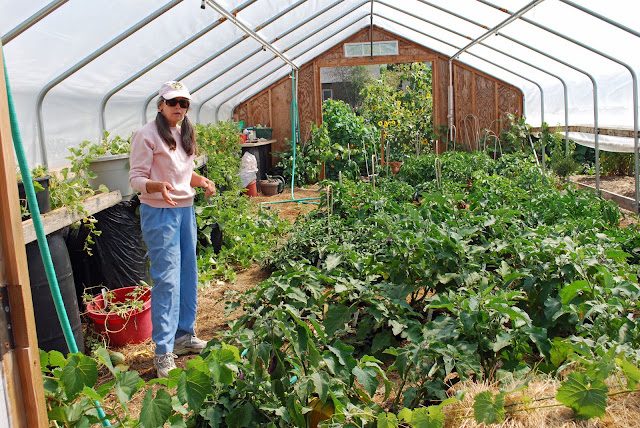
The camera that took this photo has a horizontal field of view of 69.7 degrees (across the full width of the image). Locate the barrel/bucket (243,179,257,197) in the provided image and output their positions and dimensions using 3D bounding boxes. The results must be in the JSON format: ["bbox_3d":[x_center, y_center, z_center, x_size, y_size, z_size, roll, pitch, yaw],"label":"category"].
[{"bbox_3d":[-1.343,-0.537,9.190,0.290,0.243,0.296,-1,14,0],"label":"barrel/bucket"}]

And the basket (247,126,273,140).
[{"bbox_3d":[-1.280,-1.859,10.456,0.419,0.200,0.318,2,6,33],"label":"basket"}]

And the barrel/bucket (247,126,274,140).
[{"bbox_3d":[-1.364,-1.855,10.522,0.419,0.200,0.318,2,6,33],"label":"barrel/bucket"}]

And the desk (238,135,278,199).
[{"bbox_3d":[-1.287,-0.962,9.479,0.469,0.914,1.358,1,5,8],"label":"desk"}]

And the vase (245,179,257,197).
[{"bbox_3d":[-1.341,-0.517,9.202,0.283,0.242,0.295,-2,6,-12],"label":"vase"}]

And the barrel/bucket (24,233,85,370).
[{"bbox_3d":[-1.847,0.589,3.299,0.167,0.895,0.377,-1,6,21],"label":"barrel/bucket"}]

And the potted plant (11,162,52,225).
[{"bbox_3d":[-2.012,-0.158,3.309,0.199,0.364,0.473,-7,8,-31],"label":"potted plant"}]

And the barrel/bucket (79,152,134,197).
[{"bbox_3d":[-1.937,-0.360,4.350,0.498,0.548,0.416,-2,-1,-32],"label":"barrel/bucket"}]

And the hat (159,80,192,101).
[{"bbox_3d":[-1.092,-0.923,3.453,0.166,0.121,0.231,-1,10,-31],"label":"hat"}]

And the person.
[{"bbox_3d":[-1.113,0.100,3.514,0.363,2.147,0.513,2,7,41],"label":"person"}]

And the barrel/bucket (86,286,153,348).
[{"bbox_3d":[-1.667,0.838,3.924,0.544,0.372,0.541,-1,8,0],"label":"barrel/bucket"}]

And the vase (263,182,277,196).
[{"bbox_3d":[-1.031,-0.536,9.634,0.257,0.205,0.268,0,6,-3],"label":"vase"}]

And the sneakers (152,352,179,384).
[{"bbox_3d":[-1.141,1.115,3.430,0.133,0.178,0.268,-6,8,-26],"label":"sneakers"}]

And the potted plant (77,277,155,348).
[{"bbox_3d":[-1.660,0.743,3.970,0.540,0.443,0.588,0,8,11],"label":"potted plant"}]
